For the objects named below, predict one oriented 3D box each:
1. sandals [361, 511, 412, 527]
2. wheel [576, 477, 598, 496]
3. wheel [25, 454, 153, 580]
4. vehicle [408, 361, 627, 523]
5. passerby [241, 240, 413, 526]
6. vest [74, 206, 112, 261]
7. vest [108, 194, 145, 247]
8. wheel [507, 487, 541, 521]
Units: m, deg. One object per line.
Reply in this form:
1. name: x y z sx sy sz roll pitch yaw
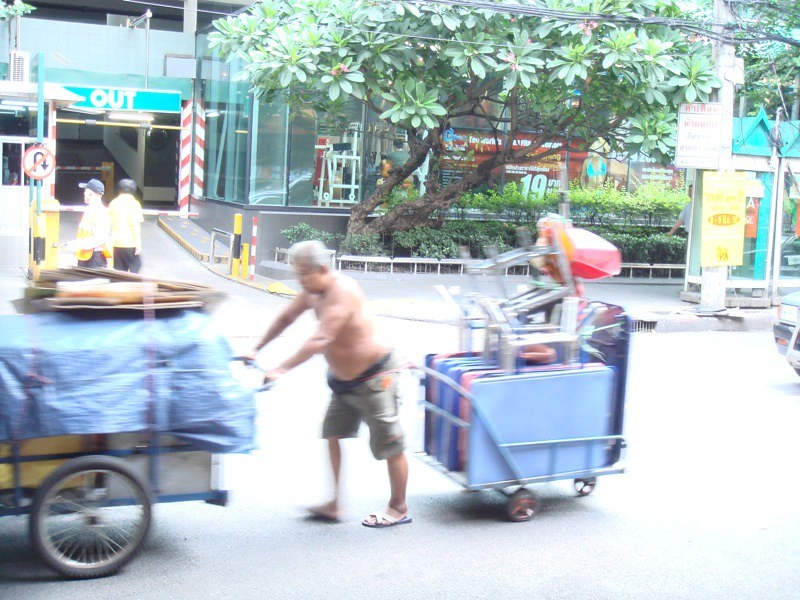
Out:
1. sandals: -0.108 1.545 5.185 0.251 0.057 0.121 4 -4 -11
2. wheel: 1.467 1.479 5.821 0.138 0.113 0.156 0 -5 -1
3. wheel: -1.854 1.273 4.329 0.731 0.668 0.162 6 0 -24
4. vehicle: 0.912 0.986 5.646 1.400 0.969 1.050 -4 9 -16
5. passerby: -0.402 0.590 5.141 1.032 1.985 0.645 2 11 -7
6. vest: -4.606 -0.996 11.088 0.700 1.007 0.936 1 9 -26
7. vest: -4.178 -1.199 11.113 0.459 0.819 0.361 -1 12 -21
8. wheel: 0.891 1.500 5.352 0.257 0.249 0.098 -1 6 -10
